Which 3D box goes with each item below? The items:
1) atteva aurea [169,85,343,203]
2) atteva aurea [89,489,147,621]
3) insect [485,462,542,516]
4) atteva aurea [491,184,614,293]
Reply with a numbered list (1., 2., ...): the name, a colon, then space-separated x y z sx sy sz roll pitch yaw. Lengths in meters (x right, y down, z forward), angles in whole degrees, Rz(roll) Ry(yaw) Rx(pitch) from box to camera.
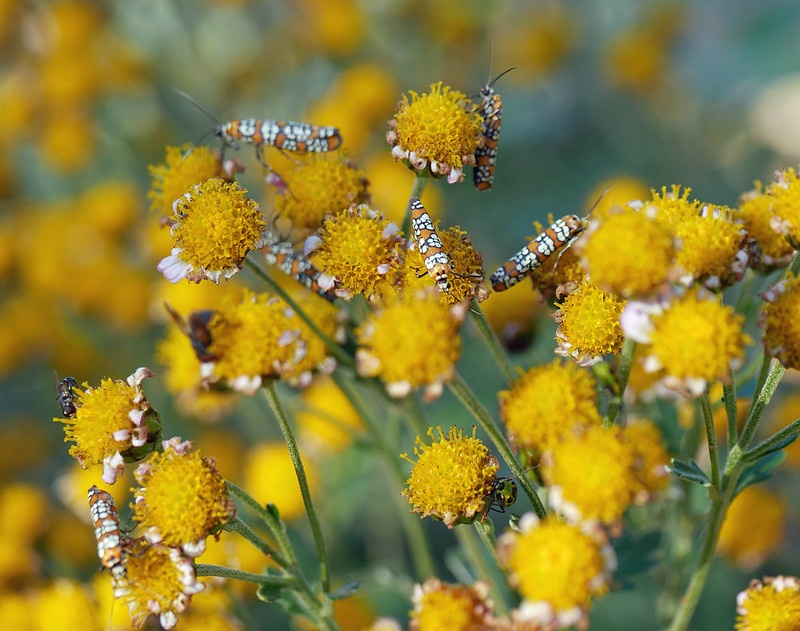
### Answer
1. atteva aurea: -0.356 -0.449 2.725 0.490 0.284 0.306 14 54 39
2. atteva aurea: -0.672 0.554 2.330 0.160 0.064 0.256 -32 58 45
3. insect: 0.237 0.410 2.297 0.028 0.090 0.117 9 97 55
4. atteva aurea: 0.386 -0.148 2.414 0.361 0.164 0.132 -40 54 1
